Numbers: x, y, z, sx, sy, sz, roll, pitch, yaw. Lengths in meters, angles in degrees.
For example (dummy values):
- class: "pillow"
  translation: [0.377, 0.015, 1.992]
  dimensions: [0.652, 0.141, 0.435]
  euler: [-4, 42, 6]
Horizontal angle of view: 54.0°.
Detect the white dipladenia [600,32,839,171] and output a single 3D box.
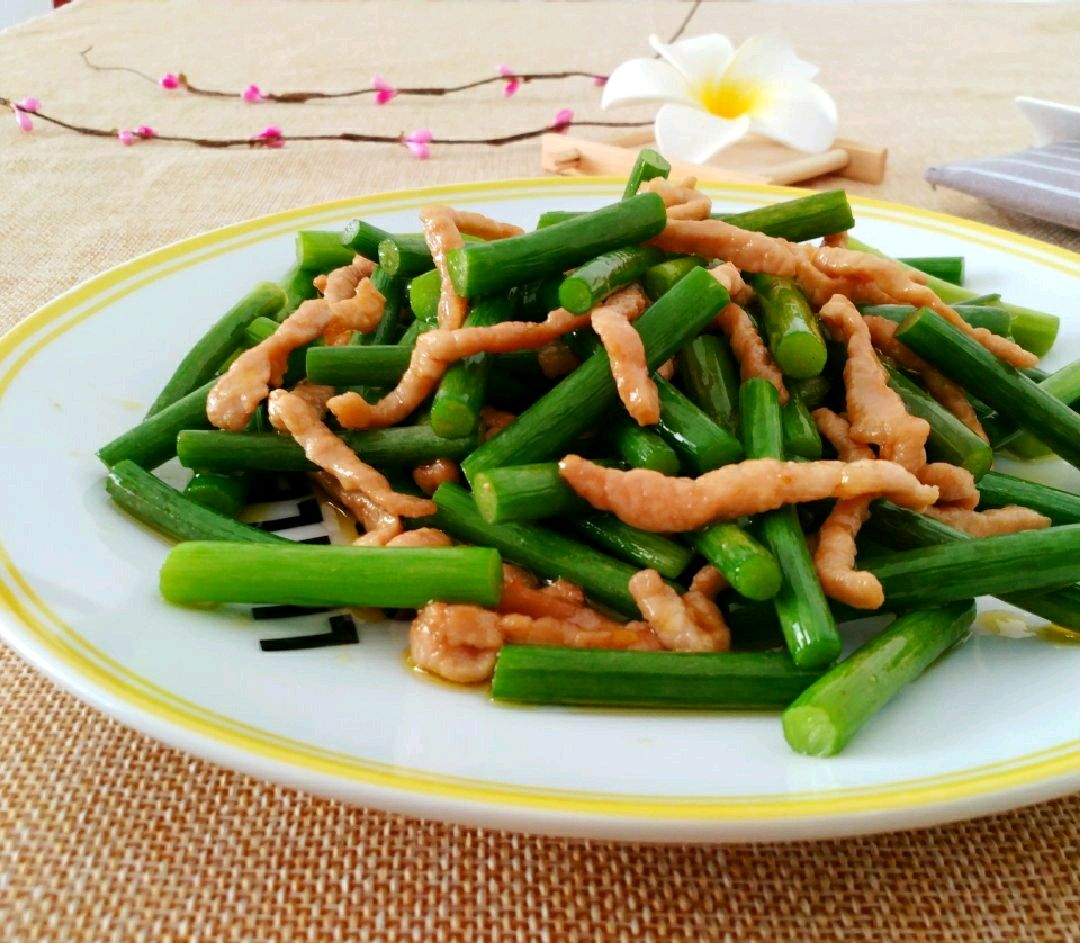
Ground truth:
- class: "white dipladenia"
  translation: [0.637, -1.456, 4.125]
  dimensions: [0.754, 0.235, 0.591]
  euler: [-27, 73, -25]
